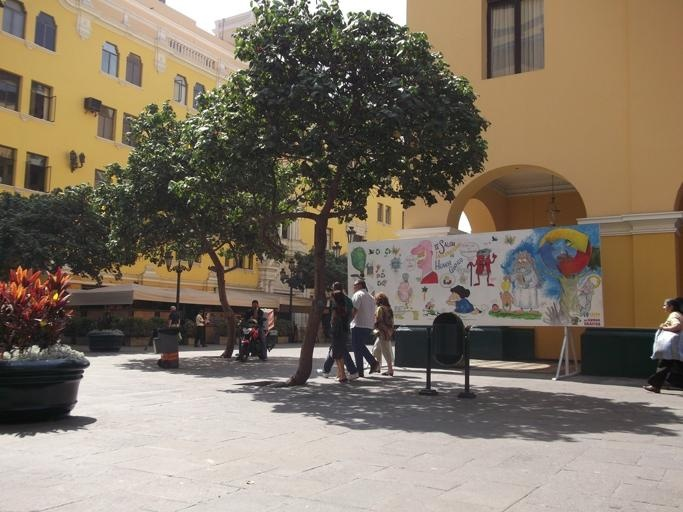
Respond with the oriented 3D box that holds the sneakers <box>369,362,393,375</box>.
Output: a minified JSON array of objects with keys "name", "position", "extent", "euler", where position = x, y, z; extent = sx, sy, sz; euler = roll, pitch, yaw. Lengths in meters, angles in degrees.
[{"name":"sneakers","position":[0.956,2.689,15.660],"extent":[0.652,0.284,0.233],"euler":[6,-10,7]}]

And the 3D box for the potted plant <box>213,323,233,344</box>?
[{"name":"potted plant","position":[-6.203,3.889,33.059],"extent":[0.650,1.077,1.276],"euler":[3,-7,-23]}]

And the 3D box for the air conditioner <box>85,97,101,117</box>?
[{"name":"air conditioner","position":[-13.151,-7.896,34.214],"extent":[0.593,0.840,1.133],"euler":[-10,4,-5]}]

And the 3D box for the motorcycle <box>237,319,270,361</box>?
[{"name":"motorcycle","position":[-2.878,2.612,20.472],"extent":[0.670,1.235,1.270],"euler":[-2,-7,26]}]

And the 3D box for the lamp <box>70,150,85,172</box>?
[{"name":"lamp","position":[-13.614,-4.884,33.385],"extent":[0.884,1.102,0.760],"euler":[5,-7,-39]}]

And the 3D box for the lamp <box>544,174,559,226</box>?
[{"name":"lamp","position":[7.278,-1.911,22.287],"extent":[0.378,1.684,0.642],"euler":[-1,-6,19]}]

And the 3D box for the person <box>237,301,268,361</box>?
[{"name":"person","position":[-2.990,2.321,20.971],"extent":[0.833,1.319,2.264],"euler":[7,14,-4]}]

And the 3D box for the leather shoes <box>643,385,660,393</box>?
[{"name":"leather shoes","position":[6.135,2.596,12.807],"extent":[0.083,0.109,0.241],"euler":[8,0,-44]}]

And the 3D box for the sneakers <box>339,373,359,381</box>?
[{"name":"sneakers","position":[0.130,2.611,14.070],"extent":[0.168,0.197,0.466],"euler":[-14,-20,38]}]

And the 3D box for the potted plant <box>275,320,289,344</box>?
[{"name":"potted plant","position":[-3.321,4.210,36.733],"extent":[0.649,1.269,1.850],"euler":[0,-6,1]}]

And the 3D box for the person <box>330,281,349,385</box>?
[{"name":"person","position":[-0.044,1.597,13.813],"extent":[0.362,2.108,0.786],"euler":[1,-5,0]}]

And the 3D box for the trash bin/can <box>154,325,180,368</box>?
[{"name":"trash bin/can","position":[-4.709,2.449,17.508],"extent":[0.657,1.054,0.741],"euler":[1,-6,-9]}]
